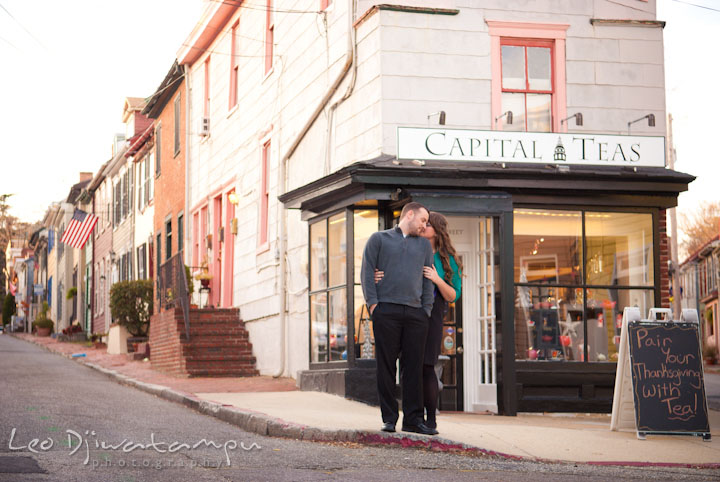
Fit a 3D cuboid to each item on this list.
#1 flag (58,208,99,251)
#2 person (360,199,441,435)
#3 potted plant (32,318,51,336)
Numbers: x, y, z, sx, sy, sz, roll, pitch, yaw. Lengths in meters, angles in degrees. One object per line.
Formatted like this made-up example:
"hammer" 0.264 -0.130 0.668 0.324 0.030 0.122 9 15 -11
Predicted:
"flag" -9.188 -0.383 29.951 0.928 1.331 0.714 -8 -12 37
"person" 0.658 1.111 12.490 1.131 3.507 1.093 0 20 -4
"potted plant" -16.791 4.503 48.115 0.987 1.058 1.009 0 -4 -10
